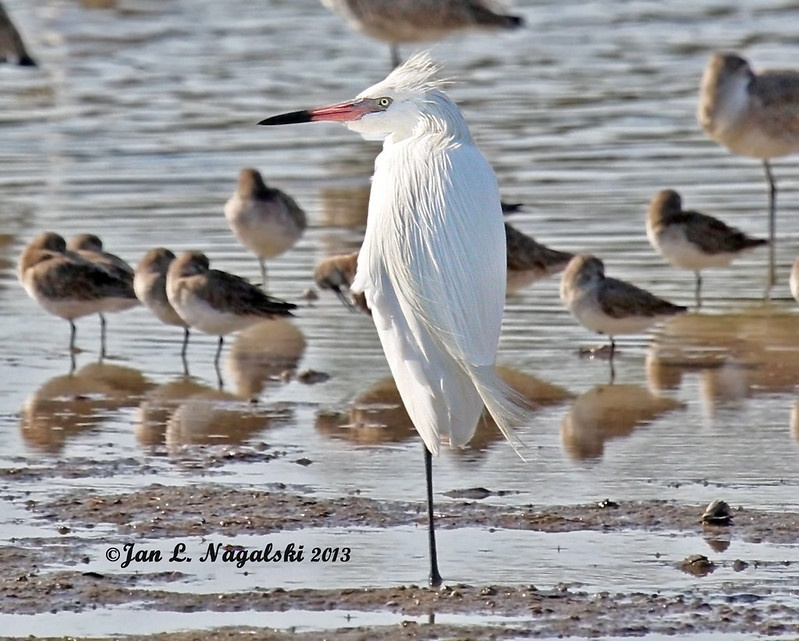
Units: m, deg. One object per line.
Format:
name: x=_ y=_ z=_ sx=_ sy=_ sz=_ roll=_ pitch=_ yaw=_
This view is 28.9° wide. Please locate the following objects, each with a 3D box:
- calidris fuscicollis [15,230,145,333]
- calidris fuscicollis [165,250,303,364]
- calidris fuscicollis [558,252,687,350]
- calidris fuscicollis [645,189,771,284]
calidris fuscicollis: x=-2.830 y=-0.304 z=13.546 sx=0.726 sy=0.780 sz=0.876 roll=-18 pitch=22 yaw=-42
calidris fuscicollis: x=-1.134 y=-0.213 z=12.976 sx=1.588 sy=0.858 sz=0.601 roll=3 pitch=-9 yaw=-11
calidris fuscicollis: x=1.835 y=-0.110 z=12.962 sx=0.935 sy=0.847 sz=0.344 roll=-1 pitch=18 yaw=9
calidris fuscicollis: x=2.840 y=-0.765 z=14.550 sx=1.001 sy=0.883 sz=0.392 roll=-1 pitch=18 yaw=8
